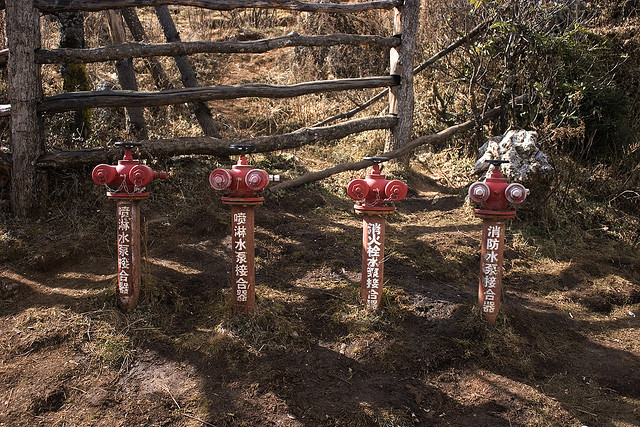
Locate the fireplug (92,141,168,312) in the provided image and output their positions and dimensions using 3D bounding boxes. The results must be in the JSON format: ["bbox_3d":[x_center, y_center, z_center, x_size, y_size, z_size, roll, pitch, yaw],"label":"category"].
[{"bbox_3d":[-2.384,0.167,9.215,0.785,2.095,0.343,-2,9,-15],"label":"fireplug"}]

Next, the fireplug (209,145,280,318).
[{"bbox_3d":[-0.980,0.248,9.155,0.483,2.024,0.518,8,12,38],"label":"fireplug"}]

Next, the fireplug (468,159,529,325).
[{"bbox_3d":[2.178,0.350,9.272,0.595,2.025,0.408,-3,10,-19],"label":"fireplug"}]

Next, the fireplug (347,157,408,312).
[{"bbox_3d":[0.698,0.258,9.303,0.715,1.924,0.364,1,9,2],"label":"fireplug"}]
